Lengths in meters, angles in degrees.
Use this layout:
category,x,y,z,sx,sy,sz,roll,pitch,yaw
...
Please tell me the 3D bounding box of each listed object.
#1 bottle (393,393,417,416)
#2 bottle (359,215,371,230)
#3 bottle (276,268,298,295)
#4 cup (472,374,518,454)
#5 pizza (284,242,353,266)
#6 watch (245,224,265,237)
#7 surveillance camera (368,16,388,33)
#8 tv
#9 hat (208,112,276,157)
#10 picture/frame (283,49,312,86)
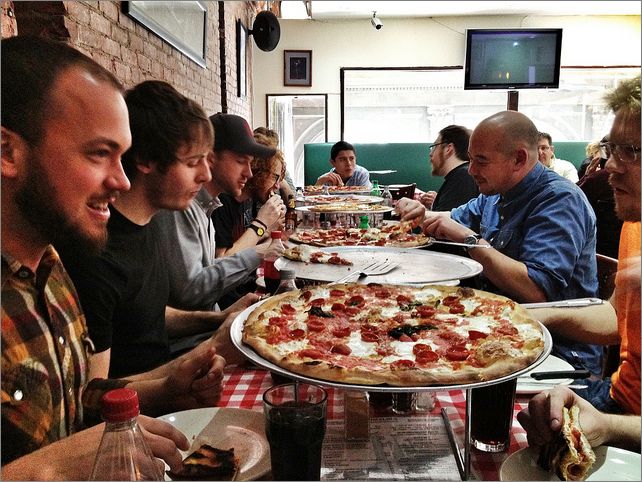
category,x,y,z,sx,sy,sz,roll,pitch,yaw
bottle,0.203,0.402,1.247,0.060,0.057,0.056,-1,4,0
bottle,0.281,-0.119,3.193,0.093,0.114,0.088,0,11,0
bottle,-0.115,0.127,1.601,0.081,0.081,0.076,-2,9,-14
cup,0.384,0.388,1.115,0.089,0.159,0.055,3,11,16
pizza,-0.006,0.061,1.965,0.208,0.034,0.104,9,14,15
watch,-0.404,-0.048,3.015,0.099,0.056,0.092,27,-26,-34
surveillance camera,0.891,-3.366,7.770,0.217,0.107,0.274,-14,55,-15
tv,2.694,-2.544,6.966,1.055,0.587,0.135,1,6,3
hat,-0.419,-0.573,2.668,0.333,0.155,0.199,3,16,-7
picture/frame,-0.364,-2.820,8.035,0.637,0.671,0.049,1,5,-3
